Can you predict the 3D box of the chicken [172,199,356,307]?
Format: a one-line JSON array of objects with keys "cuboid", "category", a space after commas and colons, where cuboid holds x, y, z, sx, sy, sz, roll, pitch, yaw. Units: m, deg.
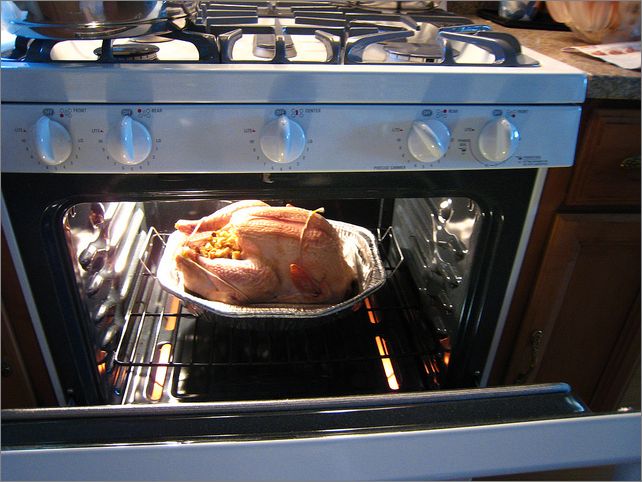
[{"cuboid": [-0.109, 0.015, 1.140, 0.408, 0.157, 0.252, 3, 44, -6], "category": "chicken"}]
